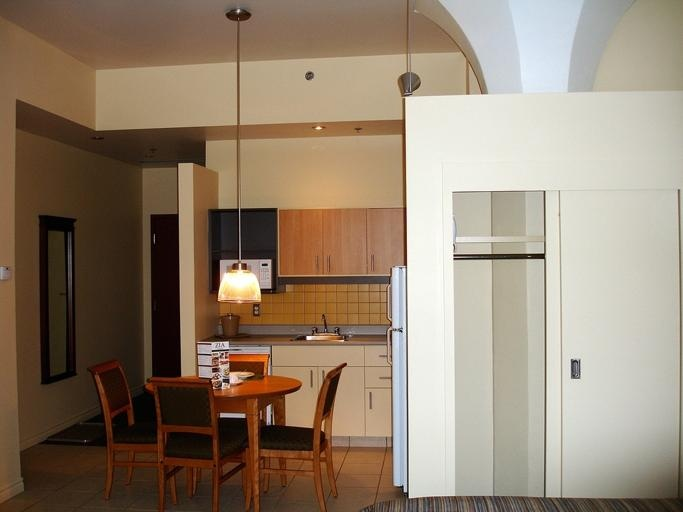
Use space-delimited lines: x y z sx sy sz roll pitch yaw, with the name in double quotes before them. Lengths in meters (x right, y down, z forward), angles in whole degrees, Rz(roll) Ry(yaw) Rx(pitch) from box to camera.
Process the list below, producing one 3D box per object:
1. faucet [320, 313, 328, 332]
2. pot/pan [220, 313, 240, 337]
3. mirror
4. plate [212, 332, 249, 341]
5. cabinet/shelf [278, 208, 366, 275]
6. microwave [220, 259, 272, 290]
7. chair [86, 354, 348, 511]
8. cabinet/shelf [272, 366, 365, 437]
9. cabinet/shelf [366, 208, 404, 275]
"faucet" -0.173 0.721 6.979 0.079 0.205 0.057 0 1 -4
"pot/pan" -1.166 0.719 6.756 0.209 0.226 0.196 0 -7 -3
"mirror" -3.106 0.458 7.049 0.158 1.784 0.565 0 1 6
"plate" -1.153 0.840 6.766 0.406 0.043 0.450 0 1 -12
"cabinet/shelf" -0.187 -0.143 6.716 0.901 0.667 0.181 0 1 -5
"microwave" -0.932 0.153 6.731 0.466 0.348 0.322 0 0 4
"chair" -1.083 1.445 5.270 2.083 1.146 1.079 1 1 27
"cabinet/shelf" -0.172 1.415 6.434 0.969 0.799 0.582 0 -5 8
"cabinet/shelf" 0.461 -0.146 6.674 0.363 0.697 0.120 0 1 16
